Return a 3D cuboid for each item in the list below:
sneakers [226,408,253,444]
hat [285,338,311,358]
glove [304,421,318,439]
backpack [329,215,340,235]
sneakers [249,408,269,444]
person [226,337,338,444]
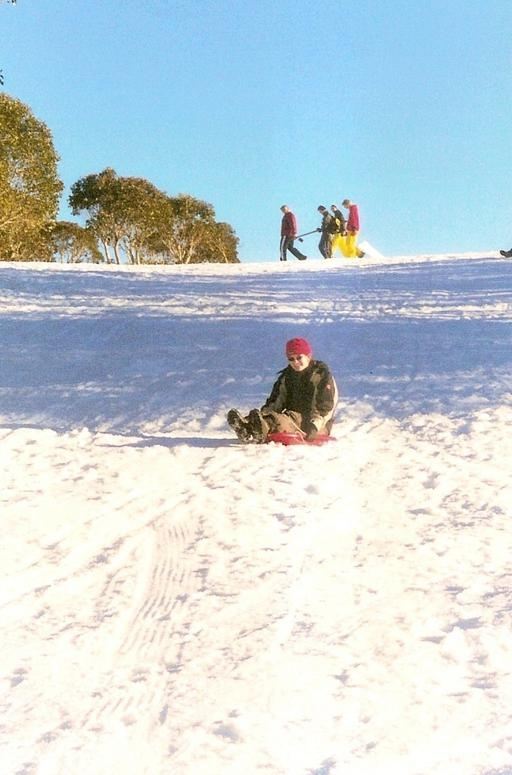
[{"bbox_3d":[-0.138,0.344,6.481,0.156,0.338,0.158,-21,15,9],"label":"sneakers"},{"bbox_3d":[0.376,-0.347,6.806,0.146,0.160,0.203,-2,-6,26],"label":"hat"},{"bbox_3d":[0.475,0.362,6.596,0.104,0.158,0.236,-1,13,4],"label":"glove"},{"bbox_3d":[1.992,-4.132,19.543,0.248,0.385,0.438,-1,13,5],"label":"backpack"},{"bbox_3d":[0.038,0.309,6.412,0.120,0.314,0.137,-4,6,22],"label":"sneakers"},{"bbox_3d":[0.296,0.052,6.767,0.762,0.974,1.154,5,0,39],"label":"person"}]
